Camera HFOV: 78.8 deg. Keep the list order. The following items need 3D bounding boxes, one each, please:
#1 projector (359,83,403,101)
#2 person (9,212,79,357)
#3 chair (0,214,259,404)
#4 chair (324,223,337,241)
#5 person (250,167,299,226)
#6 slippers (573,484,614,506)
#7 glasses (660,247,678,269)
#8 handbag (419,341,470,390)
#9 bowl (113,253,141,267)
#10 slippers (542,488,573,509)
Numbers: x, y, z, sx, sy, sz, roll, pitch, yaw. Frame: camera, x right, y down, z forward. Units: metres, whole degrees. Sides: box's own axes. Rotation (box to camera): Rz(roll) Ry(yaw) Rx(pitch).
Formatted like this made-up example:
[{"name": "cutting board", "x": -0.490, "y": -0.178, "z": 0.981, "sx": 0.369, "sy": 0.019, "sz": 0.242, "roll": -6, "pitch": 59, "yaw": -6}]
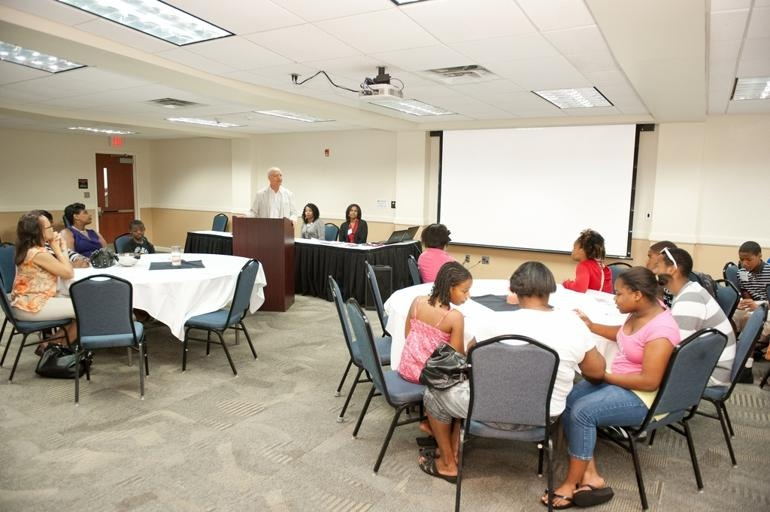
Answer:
[{"name": "projector", "x": -0.045, "y": -1.841, "z": 5.228, "sx": 0.279, "sy": 0.087, "sz": 0.260, "roll": 3, "pitch": 9, "yaw": 18}, {"name": "person", "x": -3.285, "y": 0.276, "z": 4.482, "sx": 0.551, "sy": 1.381, "sz": 0.394, "roll": -2, "pitch": 9, "yaw": -24}, {"name": "chair", "x": -3.019, "y": 0.388, "z": 5.277, "sx": 1.902, "sy": 1.521, "sz": 1.330, "roll": -1, "pitch": 3, "yaw": -34}, {"name": "chair", "x": -0.930, "y": -0.394, "z": 7.967, "sx": 0.239, "sy": 0.325, "sz": 0.267, "roll": 1, "pitch": -9, "yaw": -5}, {"name": "person", "x": -1.643, "y": -0.930, "z": 6.994, "sx": 0.724, "sy": 0.735, "sz": 0.537, "roll": 3, "pitch": 8, "yaw": 12}, {"name": "slippers", "x": 1.368, "y": 1.604, "z": 3.148, "sx": 0.311, "sy": 0.111, "sz": 0.092, "roll": -5, "pitch": -3, "yaw": -14}, {"name": "glasses", "x": 2.279, "y": 0.020, "z": 3.735, "sx": 0.041, "sy": 0.123, "sz": 0.126, "roll": -24, "pitch": 4, "yaw": 0}, {"name": "handbag", "x": 0.393, "y": 0.757, "z": 3.080, "sx": 0.328, "sy": 0.265, "sz": 0.129, "roll": -4, "pitch": -3, "yaw": -7}, {"name": "bowl", "x": -2.819, "y": 0.052, "z": 5.170, "sx": 0.190, "sy": 0.093, "sz": 0.187, "roll": 1, "pitch": -1, "yaw": 0}, {"name": "slippers", "x": 1.134, "y": 1.593, "z": 3.083, "sx": 0.223, "sy": 0.057, "sz": 0.123, "roll": 7, "pitch": -9, "yaw": -38}]
